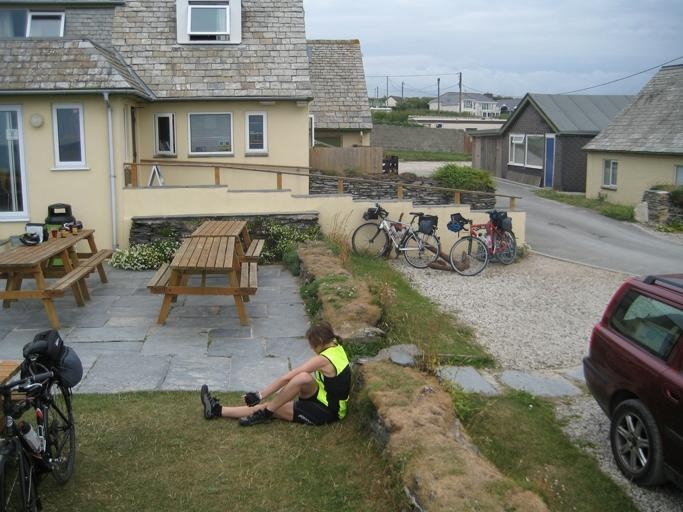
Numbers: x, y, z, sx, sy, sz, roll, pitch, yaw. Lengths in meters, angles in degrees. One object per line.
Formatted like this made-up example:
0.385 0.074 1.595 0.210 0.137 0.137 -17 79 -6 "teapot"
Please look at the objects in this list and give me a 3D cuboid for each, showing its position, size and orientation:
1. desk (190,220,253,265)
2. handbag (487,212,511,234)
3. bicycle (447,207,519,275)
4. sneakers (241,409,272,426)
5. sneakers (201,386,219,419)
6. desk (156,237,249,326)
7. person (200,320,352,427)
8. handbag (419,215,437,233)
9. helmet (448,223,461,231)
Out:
-2.466 -0.136 11.283 1.112 0.570 1.042 1 11 3 "desk"
4.190 -0.892 14.197 0.568 0.563 0.448 -5 14 6 "handbag"
3.867 -0.441 14.363 2.585 1.595 0.800 -9 6 -32 "bicycle"
-0.907 1.798 5.839 0.372 0.129 0.150 -9 -26 -22 "sneakers"
-1.424 1.624 5.872 0.190 0.436 0.143 -7 -34 -6 "sneakers"
-2.387 0.386 9.736 1.632 1.010 2.630 1 11 -10 "desk"
-0.756 1.390 6.157 1.717 1.130 0.810 -1 -13 -4 "person"
2.217 -0.810 13.856 0.507 0.485 0.369 4 10 9 "handbag"
2.987 -0.748 14.151 0.363 0.215 0.269 5 11 9 "helmet"
